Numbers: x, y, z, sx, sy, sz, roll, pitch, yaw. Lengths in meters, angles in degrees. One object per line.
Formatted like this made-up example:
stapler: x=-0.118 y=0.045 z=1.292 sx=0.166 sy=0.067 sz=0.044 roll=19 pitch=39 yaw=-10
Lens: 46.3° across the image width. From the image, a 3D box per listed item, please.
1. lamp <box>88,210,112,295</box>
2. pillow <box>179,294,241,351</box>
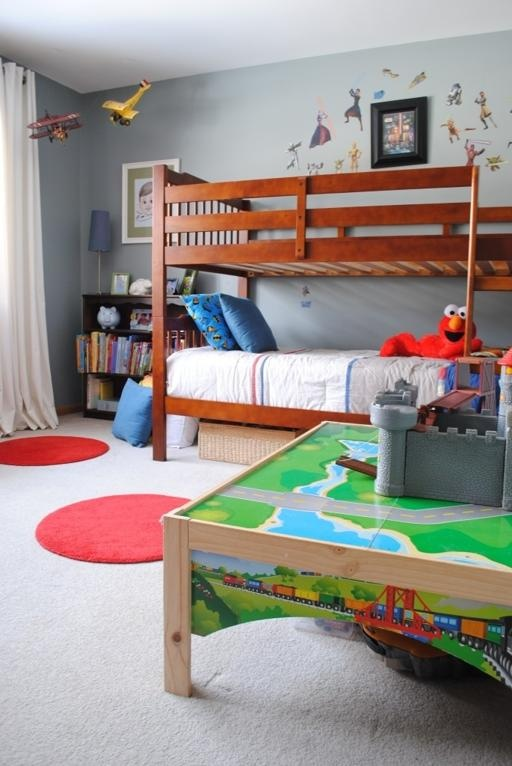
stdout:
lamp: x=-1.189 y=-0.998 z=4.546 sx=0.162 sy=0.609 sz=0.297 roll=-1 pitch=6 yaw=-14
pillow: x=-0.243 y=-0.325 z=3.314 sx=0.093 sy=0.304 sz=0.314 roll=-27 pitch=-3 yaw=18
